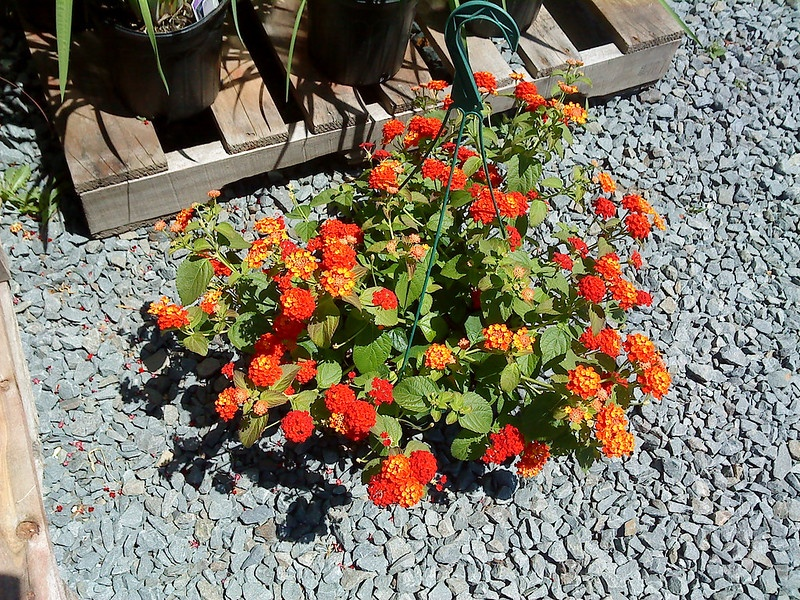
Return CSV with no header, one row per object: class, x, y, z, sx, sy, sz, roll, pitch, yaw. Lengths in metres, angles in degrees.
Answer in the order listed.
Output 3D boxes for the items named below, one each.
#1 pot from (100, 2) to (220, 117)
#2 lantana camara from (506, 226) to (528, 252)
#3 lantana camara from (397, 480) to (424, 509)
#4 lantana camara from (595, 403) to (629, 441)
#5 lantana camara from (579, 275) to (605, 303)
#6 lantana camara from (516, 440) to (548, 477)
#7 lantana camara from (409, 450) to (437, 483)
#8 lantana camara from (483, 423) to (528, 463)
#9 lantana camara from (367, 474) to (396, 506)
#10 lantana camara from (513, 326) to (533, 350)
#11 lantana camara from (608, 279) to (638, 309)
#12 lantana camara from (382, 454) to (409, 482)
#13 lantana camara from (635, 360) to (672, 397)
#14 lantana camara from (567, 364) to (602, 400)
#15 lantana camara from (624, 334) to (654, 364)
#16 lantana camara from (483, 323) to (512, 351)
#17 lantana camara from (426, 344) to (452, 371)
pot,-0.840,-0.873,2.562,0.408,0.314,0.391,3,59,-5
lantana camara,0.378,-0.210,2.198,0.065,0.041,0.075,0,63,-38
lantana camara,0.041,0.572,2.012,0.077,0.034,0.087,-17,105,-23
lantana camara,0.638,0.365,2.037,0.102,0.085,0.092,-19,75,-12
lantana camara,0.602,-0.040,2.119,0.078,0.033,0.078,42,76,9
lantana camara,0.429,0.506,2.193,0.076,0.137,0.080,23,41,-1
lantana camara,0.071,0.506,2.036,0.083,0.036,0.095,3,72,-6
lantana camara,0.334,0.453,2.132,0.101,0.145,0.089,-10,88,-13
lantana camara,-0.038,0.588,2.041,0.042,0.099,0.113,-18,95,-41
lantana camara,0.382,0.116,2.091,0.060,0.023,0.072,13,84,-12
lantana camara,0.705,-0.011,2.130,0.081,0.032,0.094,23,55,-17
lantana camara,-0.010,0.500,1.995,0.085,0.034,0.074,-1,72,-7
lantana camara,0.793,0.235,2.114,0.105,0.043,0.131,-4,88,6
lantana camara,0.542,0.245,1.989,0.090,0.037,0.096,-13,79,0
lantana camara,0.739,0.142,2.058,0.077,0.028,0.091,16,68,-8
lantana camara,0.306,0.115,2.087,0.087,0.079,0.086,-2,72,-7
lantana camara,0.129,0.176,2.093,0.098,0.043,0.066,4,72,-6
